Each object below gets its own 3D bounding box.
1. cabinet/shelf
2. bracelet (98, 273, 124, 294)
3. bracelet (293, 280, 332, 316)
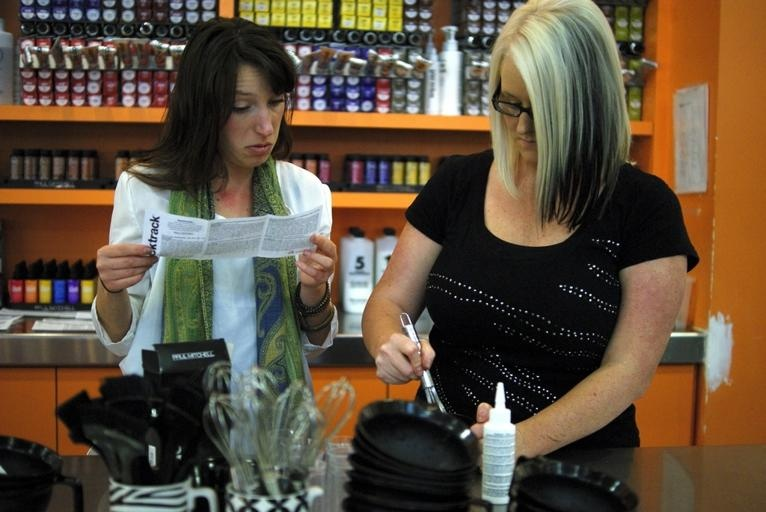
[{"bbox_3d":[-0.044,0.103,2.728,2.127,1.414,1.077,0,30,30],"label":"cabinet/shelf"},{"bbox_3d":[-0.864,0.090,2.560,0.061,0.017,0.064,17,-3,-28],"label":"bracelet"},{"bbox_3d":[-0.243,0.144,2.768,0.105,0.118,0.054,-1,7,6],"label":"bracelet"}]
